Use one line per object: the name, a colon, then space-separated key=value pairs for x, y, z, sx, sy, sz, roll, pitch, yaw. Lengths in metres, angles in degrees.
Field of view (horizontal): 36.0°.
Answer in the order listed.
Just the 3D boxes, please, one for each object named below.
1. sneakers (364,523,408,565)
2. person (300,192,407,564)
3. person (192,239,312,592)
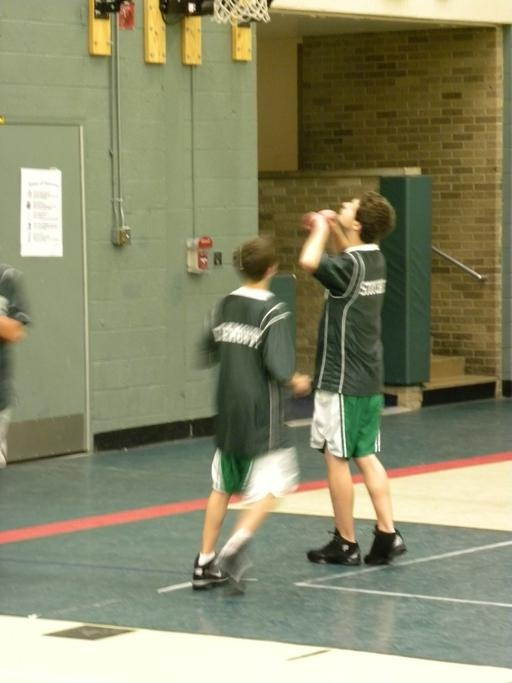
sneakers: x=0.619 y=0.971 z=3.776 sx=0.094 sy=0.194 sz=0.275 roll=-14 pitch=-12 yaw=-34
person: x=0.405 y=0.232 z=3.674 sx=0.586 sy=1.649 sz=0.406 roll=0 pitch=-1 yaw=-23
person: x=-0.023 y=0.288 z=3.217 sx=0.477 sy=1.475 sz=0.423 roll=0 pitch=-1 yaw=-5
